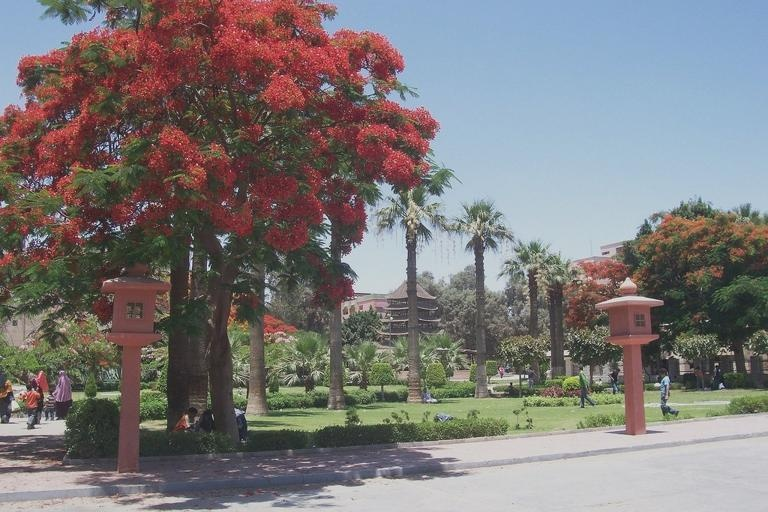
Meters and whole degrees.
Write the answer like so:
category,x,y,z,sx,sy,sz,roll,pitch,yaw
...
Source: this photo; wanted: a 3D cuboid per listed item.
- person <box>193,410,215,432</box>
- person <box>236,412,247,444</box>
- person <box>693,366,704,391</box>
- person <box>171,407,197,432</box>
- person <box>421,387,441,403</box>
category,x,y,z,sx,sy,sz,roll,pitch,yaw
person,-5.703,5.180,26.580,0.655,0.698,1.174,1,-12,-16
person,-4.562,5.459,27.046,0.349,0.926,0.920,-1,-11,-9
person,20.687,8.016,55.335,0.525,1.546,4.093,-6,-12,19
person,-6.294,5.265,26.808,0.657,0.914,0.811,20,-3,-21
person,2.598,7.745,46.473,0.614,0.864,1.714,-16,-16,3
